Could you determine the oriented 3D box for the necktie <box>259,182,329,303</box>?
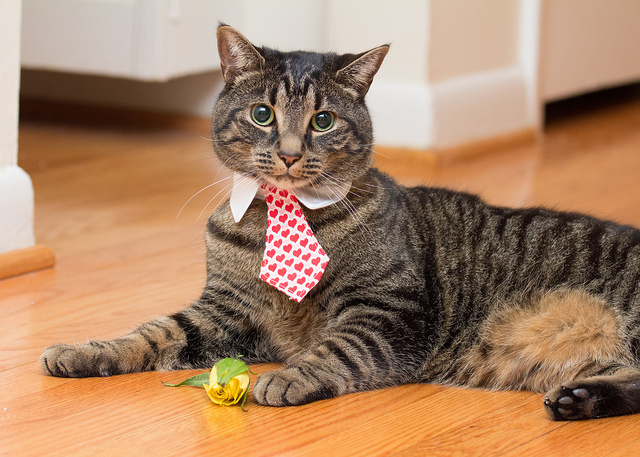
[{"bbox_3d":[-0.066,0.028,1.345,0.175,0.235,0.104,8,16,10],"label":"necktie"}]
